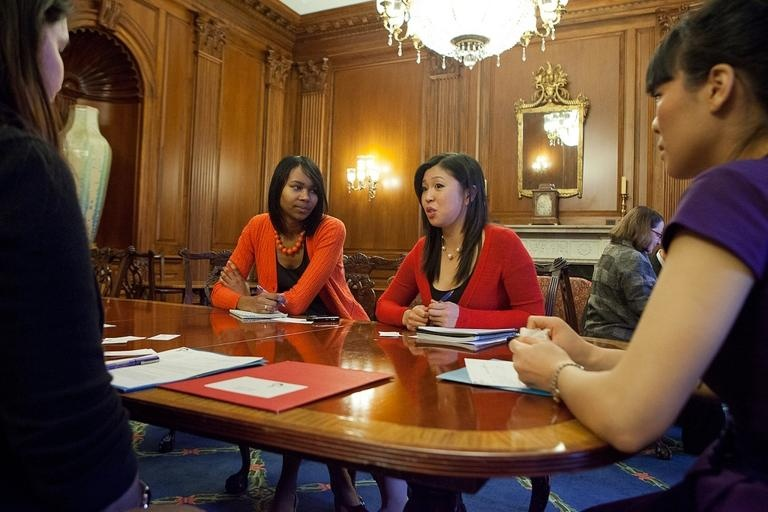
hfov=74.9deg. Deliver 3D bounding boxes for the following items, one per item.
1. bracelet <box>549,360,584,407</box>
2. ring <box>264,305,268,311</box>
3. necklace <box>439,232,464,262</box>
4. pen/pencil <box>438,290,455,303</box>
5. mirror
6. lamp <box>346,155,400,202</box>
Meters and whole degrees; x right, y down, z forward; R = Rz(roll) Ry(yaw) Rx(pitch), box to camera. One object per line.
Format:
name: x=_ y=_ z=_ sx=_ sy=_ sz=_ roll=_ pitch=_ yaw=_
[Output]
bracelet: x=0.369 y=0.252 z=1.023 sx=0.061 sy=0.089 sz=0.029 roll=20 pitch=25 yaw=23
ring: x=-0.539 y=0.248 z=2.311 sx=0.020 sy=0.020 sz=0.015 roll=-4 pitch=-5 yaw=36
necklace: x=0.314 y=-0.046 z=2.459 sx=0.083 sy=0.123 sz=0.043 roll=-7 pitch=-7 yaw=32
pen/pencil: x=0.291 y=0.193 z=2.330 sx=0.066 sy=0.014 sz=0.017 roll=-41 pitch=15 yaw=-15
mirror: x=2.278 y=-1.742 z=6.845 sx=1.013 sy=1.932 sz=0.157 roll=0 pitch=-6 yaw=9
lamp: x=-0.133 y=-1.252 z=8.116 sx=0.743 sy=0.707 sz=0.616 roll=1 pitch=6 yaw=17
